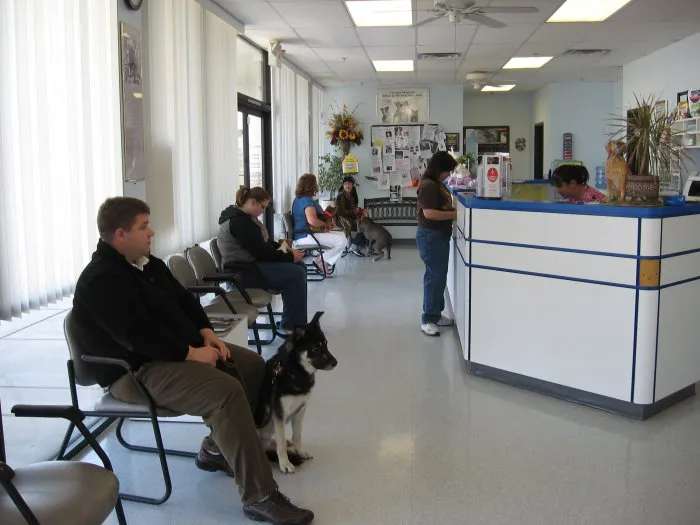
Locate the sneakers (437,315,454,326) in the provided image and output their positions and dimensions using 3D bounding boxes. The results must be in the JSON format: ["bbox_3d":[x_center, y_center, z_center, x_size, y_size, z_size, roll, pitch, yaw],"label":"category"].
[{"bbox_3d":[0.960,0.575,5.399,0.219,0.096,0.079,-3,15,-19],"label":"sneakers"}]

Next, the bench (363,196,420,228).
[{"bbox_3d":[0.859,-1.100,11.329,1.872,0.623,0.996,-1,1,2],"label":"bench"}]

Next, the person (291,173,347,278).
[{"bbox_3d":[-0.428,-0.557,7.708,0.775,1.485,0.653,-5,13,-13],"label":"person"}]

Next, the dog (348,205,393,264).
[{"bbox_3d":[0.378,-0.502,9.277,0.425,0.817,1.263,-2,-13,39],"label":"dog"}]

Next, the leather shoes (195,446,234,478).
[{"bbox_3d":[-0.748,1.102,2.990,0.272,0.133,0.101,9,9,2],"label":"leather shoes"}]

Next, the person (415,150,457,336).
[{"bbox_3d":[0.809,-0.174,5.010,0.356,1.720,0.292,1,13,7],"label":"person"}]

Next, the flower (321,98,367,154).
[{"bbox_3d":[0.027,-2.824,10.805,0.934,1.243,0.922,-9,22,-21],"label":"flower"}]
